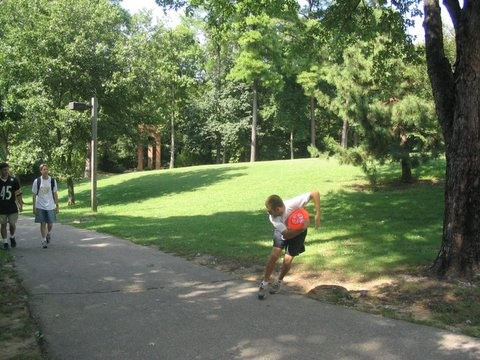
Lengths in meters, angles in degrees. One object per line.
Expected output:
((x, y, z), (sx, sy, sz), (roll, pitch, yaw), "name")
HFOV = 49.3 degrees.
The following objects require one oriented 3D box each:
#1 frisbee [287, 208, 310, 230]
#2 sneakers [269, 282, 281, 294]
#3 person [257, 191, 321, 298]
((1.150, 0.775, 10.778), (0.417, 0.488, 0.408), (12, 3, 0), "frisbee")
((0.742, 2.258, 10.999), (0.125, 0.146, 0.342), (3, 1, 9), "sneakers")
((0.948, 1.318, 10.829), (1.330, 2.133, 0.483), (-3, 11, -18), "person")
